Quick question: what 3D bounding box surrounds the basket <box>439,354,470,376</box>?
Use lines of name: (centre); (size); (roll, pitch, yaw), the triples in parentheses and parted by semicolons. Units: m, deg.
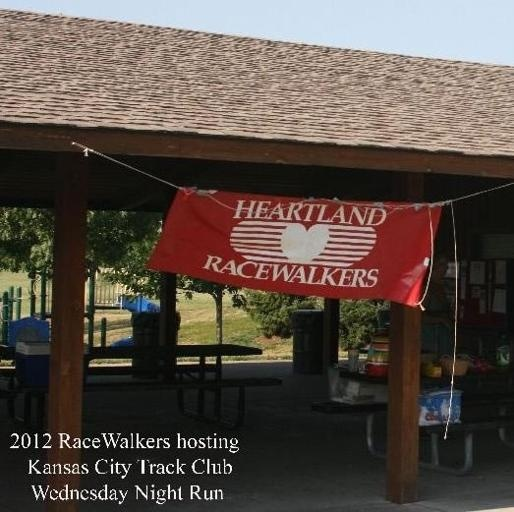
basket: (1.884, 1.019, 8.743); (0.224, 0.119, 0.204); (1, -4, -2)
